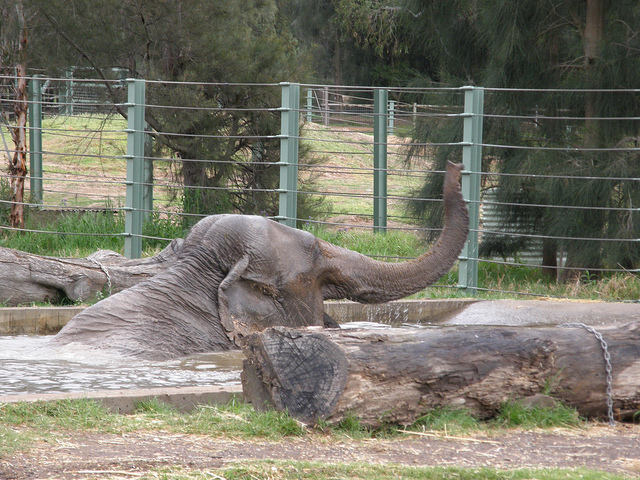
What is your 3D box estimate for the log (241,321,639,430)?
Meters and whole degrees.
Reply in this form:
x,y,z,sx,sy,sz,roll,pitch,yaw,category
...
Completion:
x,y,z,sx,sy,sz,roll,pitch,yaw,category
1.158,1.422,17.928,4.955,1.493,1.531,2,-25,-12,log
